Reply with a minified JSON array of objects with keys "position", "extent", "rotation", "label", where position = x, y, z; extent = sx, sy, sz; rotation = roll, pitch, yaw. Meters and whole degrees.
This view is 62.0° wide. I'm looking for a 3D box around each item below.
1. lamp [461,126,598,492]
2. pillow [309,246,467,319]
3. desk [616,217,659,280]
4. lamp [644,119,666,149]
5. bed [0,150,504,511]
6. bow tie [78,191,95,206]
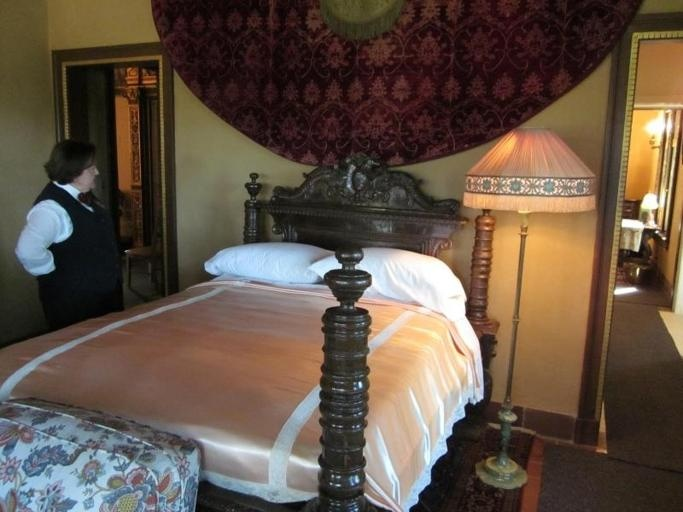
[{"position":[0.978,0.301,3.197],"extent":[0.712,2.056,0.725],"rotation":[2,12,4],"label":"lamp"},{"position":[0.324,0.102,3.086],"extent":[0.616,0.155,0.409],"rotation":[12,50,16],"label":"pillow"},{"position":[3.457,-0.046,6.641],"extent":[0.417,0.361,0.714],"rotation":[5,13,25],"label":"desk"},{"position":[4.343,-1.721,7.933],"extent":[0.163,0.413,0.883],"rotation":[5,13,22],"label":"lamp"},{"position":[-0.264,0.482,2.356],"extent":[1.431,0.932,1.440],"rotation":[6,11,25],"label":"bed"},{"position":[-1.393,-0.313,3.107],"extent":[0.058,0.030,0.081],"rotation":[16,14,-23],"label":"bow tie"}]
